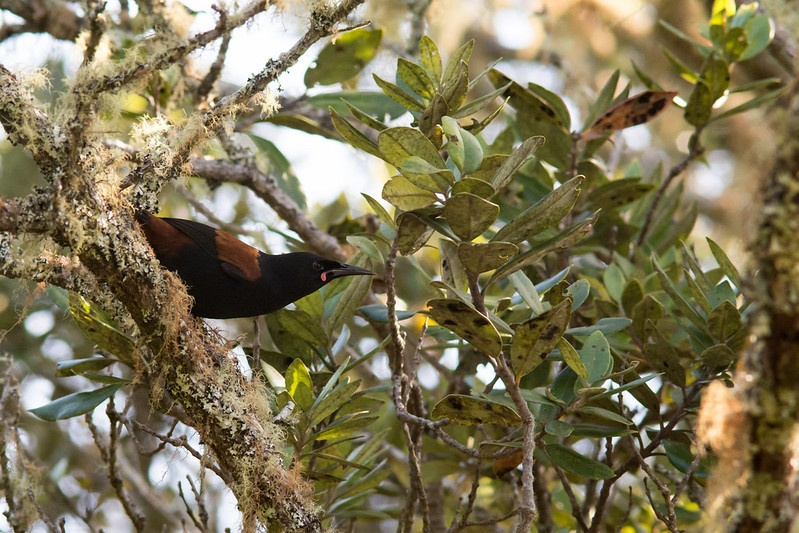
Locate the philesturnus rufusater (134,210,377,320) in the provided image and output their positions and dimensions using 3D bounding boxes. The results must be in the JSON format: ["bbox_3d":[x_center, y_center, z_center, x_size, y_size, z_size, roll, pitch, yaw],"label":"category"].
[{"bbox_3d":[-0.827,-0.014,4.900,1.077,0.482,0.323,2,-25,-29],"label":"philesturnus rufusater"}]
